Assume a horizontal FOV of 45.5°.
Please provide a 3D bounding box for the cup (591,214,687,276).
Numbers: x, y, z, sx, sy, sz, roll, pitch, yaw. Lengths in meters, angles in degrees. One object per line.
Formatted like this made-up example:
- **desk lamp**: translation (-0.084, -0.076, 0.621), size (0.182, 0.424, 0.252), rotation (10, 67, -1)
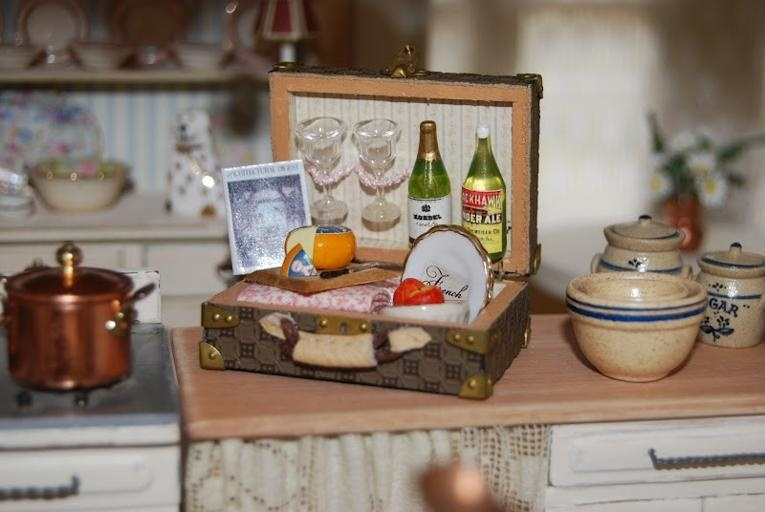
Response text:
- **cup**: translation (0.594, -0.013, 2.126), size (0.174, 0.128, 0.145), rotation (2, 11, 2)

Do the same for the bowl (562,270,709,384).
- **bowl**: translation (0.540, 0.135, 1.961), size (0.244, 0.180, 0.248), rotation (-3, 16, 1)

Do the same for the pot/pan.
- **pot/pan**: translation (-0.624, 0.135, 1.996), size (0.423, 0.311, 0.268), rotation (1, 3, 4)

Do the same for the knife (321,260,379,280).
- **knife**: translation (-0.082, 0.032, 2.109), size (0.087, 0.021, 0.052), rotation (-14, 12, -18)

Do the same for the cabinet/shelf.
- **cabinet/shelf**: translation (-0.867, -0.220, 3.011), size (1.000, 1.023, 0.378), rotation (-1, 4, -8)

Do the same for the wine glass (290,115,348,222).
- **wine glass**: translation (-0.158, -0.219, 2.214), size (0.150, 0.251, 0.138), rotation (15, 33, 34)

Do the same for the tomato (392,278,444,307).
- **tomato**: translation (0.071, 0.085, 1.992), size (0.071, 0.070, 0.071), rotation (6, -1, 7)
